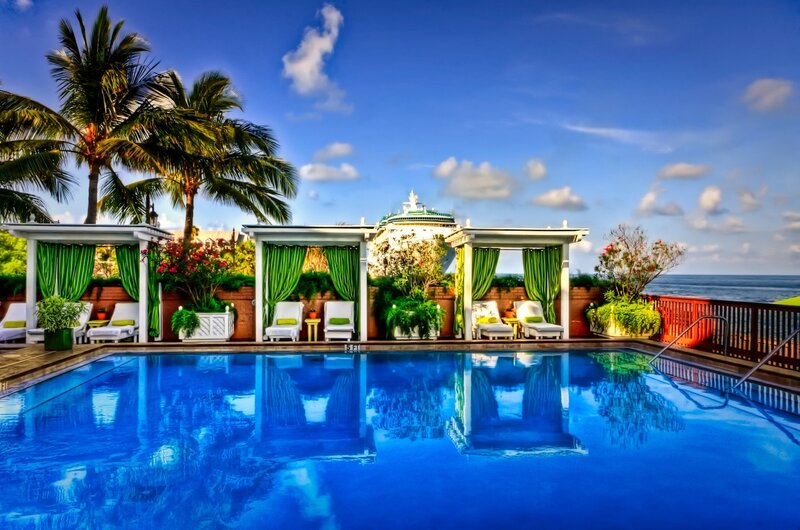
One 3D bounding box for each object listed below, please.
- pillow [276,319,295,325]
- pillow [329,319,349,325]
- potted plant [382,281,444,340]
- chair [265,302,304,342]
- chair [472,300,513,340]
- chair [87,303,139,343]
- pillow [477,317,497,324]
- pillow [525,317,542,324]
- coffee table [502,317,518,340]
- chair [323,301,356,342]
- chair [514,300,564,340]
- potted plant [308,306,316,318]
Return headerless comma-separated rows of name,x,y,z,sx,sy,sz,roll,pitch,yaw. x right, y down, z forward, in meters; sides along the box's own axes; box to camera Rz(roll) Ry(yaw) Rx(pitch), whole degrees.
pillow,-3.660,1.859,19.187,0.357,0.220,0.095,3,-2,-8
pillow,-1.938,1.853,19.229,0.635,0.168,0.170,-1,14,-8
potted plant,0.414,1.574,19.621,1.908,1.745,0.976,0,14,-1
chair,-3.704,1.888,19.178,1.007,1.277,1.422,0,-1,1
chair,3.014,1.922,19.763,1.235,1.063,1.686,-1,11,-8
chair,-8.956,1.884,18.999,1.150,1.066,1.705,0,1,6
pillow,2.967,1.852,19.840,0.684,0.151,0.377,2,14,6
pillow,4.529,1.863,19.803,0.370,0.107,0.230,5,15,-2
coffee table,3.850,2.114,19.748,0.621,0.657,0.619,1,-4,-18
chair,-1.968,1.884,19.557,0.979,1.164,1.122,0,14,-3
chair,4.636,1.858,19.844,1.170,1.104,1.792,0,3,-16
potted plant,-2.909,1.619,19.743,0.297,0.219,0.298,-1,-7,0
